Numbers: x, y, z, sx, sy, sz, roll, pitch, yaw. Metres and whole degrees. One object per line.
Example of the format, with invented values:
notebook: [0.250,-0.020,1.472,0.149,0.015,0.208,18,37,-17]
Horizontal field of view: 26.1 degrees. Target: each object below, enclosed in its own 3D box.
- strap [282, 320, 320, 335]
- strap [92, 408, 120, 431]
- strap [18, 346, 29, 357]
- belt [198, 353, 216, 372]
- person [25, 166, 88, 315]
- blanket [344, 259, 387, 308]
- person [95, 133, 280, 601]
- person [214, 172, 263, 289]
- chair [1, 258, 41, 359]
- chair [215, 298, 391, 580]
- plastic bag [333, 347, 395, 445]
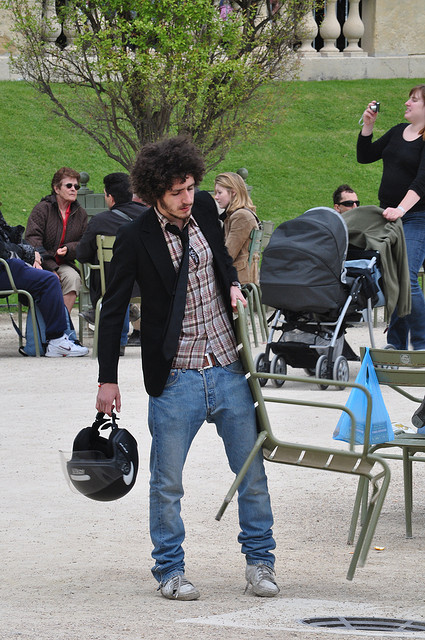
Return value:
strap: [0.741,0.063,7.676,0.222,0.055,0.132,8,8,16]
strap: [-0.406,0.371,3.396,0.125,0.081,0.080,2,-2,-3]
strap: [-1.940,0.318,9.338,0.048,0.117,0.075,-30,-21,22]
belt: [-0.013,0.154,3.247,0.056,0.058,0.024,3,-13,-14]
person: [-1.796,-0.719,10.439,0.870,1.913,1.065,3,11,-21]
blanket: [1.229,-0.304,7.692,0.309,0.386,0.357,8,14,38]
person: [-0.092,0.178,3.266,0.689,1.599,0.478,-2,-3,-18]
person: [0.314,-0.951,9.271,0.566,1.298,0.582,-8,22,-29]
chair: [-1.924,-0.112,9.147,0.339,0.981,0.389,-5,14,-14]
chair: [0.239,0.572,3.764,0.839,1.036,0.991,-3,14,22]
plastic bag: [0.621,0.316,3.831,0.249,0.380,0.217,3,7,-15]
